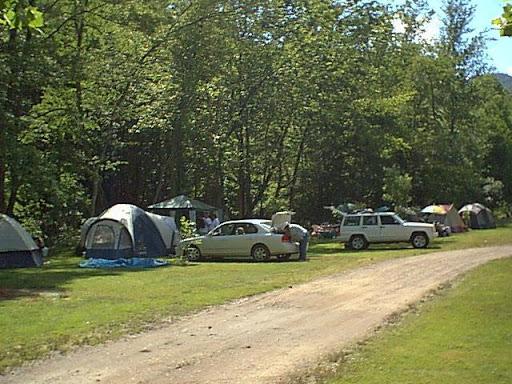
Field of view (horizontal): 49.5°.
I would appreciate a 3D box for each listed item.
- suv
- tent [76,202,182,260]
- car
[{"bbox_3d":[7.445,2.125,31.232,5.102,2.153,2.582,-3,2,25],"label":"suv"},{"bbox_3d":[-5.974,2.031,26.372,3.222,2.185,5.393,-5,-7,22],"label":"tent"},{"bbox_3d":[-0.766,1.856,24.886,4.722,1.654,2.279,-1,-5,18],"label":"car"}]
